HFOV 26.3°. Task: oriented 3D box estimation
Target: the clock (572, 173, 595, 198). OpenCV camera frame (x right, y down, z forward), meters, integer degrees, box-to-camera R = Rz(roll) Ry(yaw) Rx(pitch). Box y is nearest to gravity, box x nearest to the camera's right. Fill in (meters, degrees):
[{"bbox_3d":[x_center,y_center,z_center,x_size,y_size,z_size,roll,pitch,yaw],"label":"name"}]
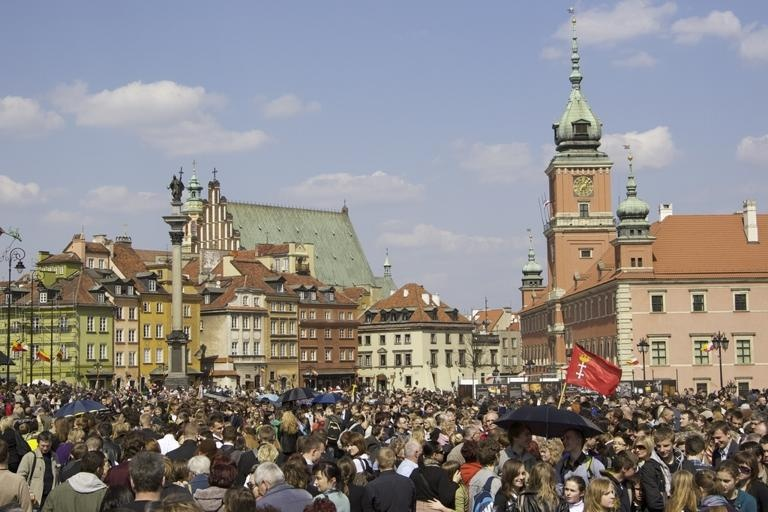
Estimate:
[{"bbox_3d":[16.539,-5.924,136.234,1.956,1.716,0.646,1,-15,8],"label":"clock"}]
